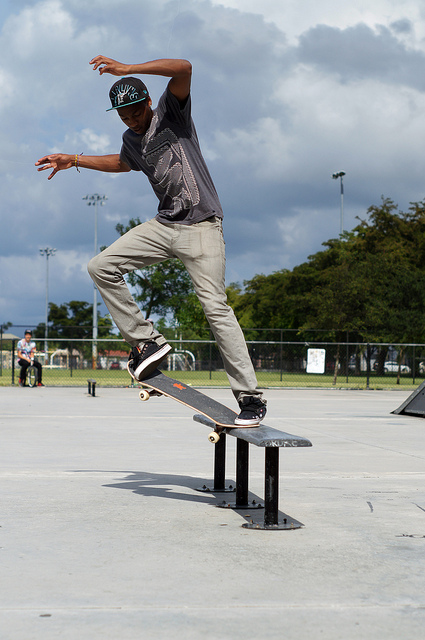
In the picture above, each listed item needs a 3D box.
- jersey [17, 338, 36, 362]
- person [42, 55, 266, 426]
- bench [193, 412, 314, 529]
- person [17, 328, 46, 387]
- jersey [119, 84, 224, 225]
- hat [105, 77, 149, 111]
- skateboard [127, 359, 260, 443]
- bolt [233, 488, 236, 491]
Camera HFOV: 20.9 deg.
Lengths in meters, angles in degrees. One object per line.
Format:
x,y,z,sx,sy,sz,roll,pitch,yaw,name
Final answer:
-3.509,0.558,21.731,0.315,0.407,0.488,2,-3,-9,jersey
-0.204,-0.367,6.075,0.927,1.817,0.683,1,-3,13,person
0.168,0.805,6.207,0.285,0.431,1.187,2,1,-15,bench
-3.463,0.721,21.876,0.446,1.086,0.850,2,-3,-8,person
-0.169,-0.858,6.166,0.430,0.682,0.260,1,-3,1,jersey
-0.433,-1.182,6.009,0.197,0.181,0.150,1,-3,-6,hat
-0.232,0.745,10.453,1.534,0.253,0.373,30,25,25,skateboard
0.129,1.000,6.820,0.010,0.016,0.017,-2,11,-2,bolt
